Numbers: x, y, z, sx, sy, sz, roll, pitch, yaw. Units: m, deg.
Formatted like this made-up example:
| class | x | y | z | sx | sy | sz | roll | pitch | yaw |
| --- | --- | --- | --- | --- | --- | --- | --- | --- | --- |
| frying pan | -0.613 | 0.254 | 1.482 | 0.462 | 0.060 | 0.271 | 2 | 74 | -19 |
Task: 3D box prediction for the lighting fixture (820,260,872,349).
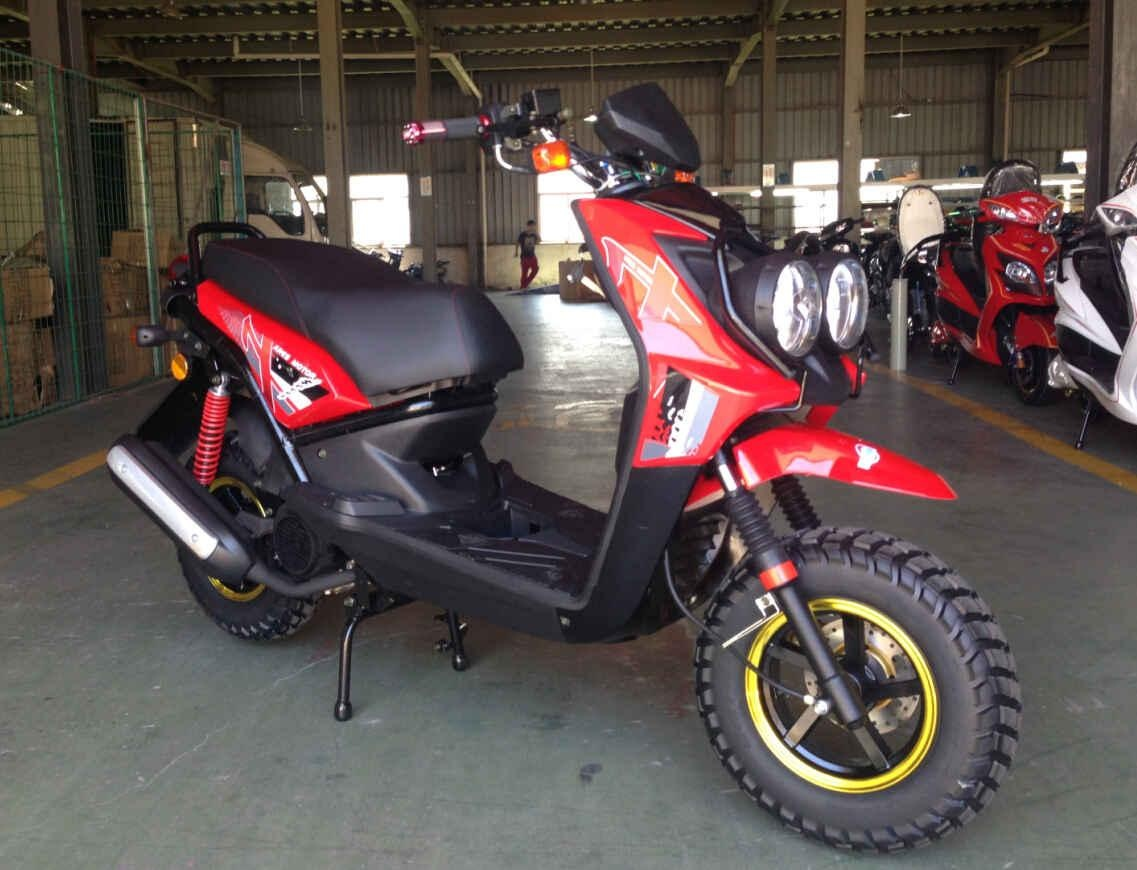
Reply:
| class | x | y | z | sx | sy | sz | roll | pitch | yaw |
| --- | --- | --- | --- | --- | --- | --- | --- | --- | --- |
| lighting fixture | 0.586 | -0.311 | 2.035 | 0.088 | 0.101 | 0.100 | 7 | -3 | 7 |
